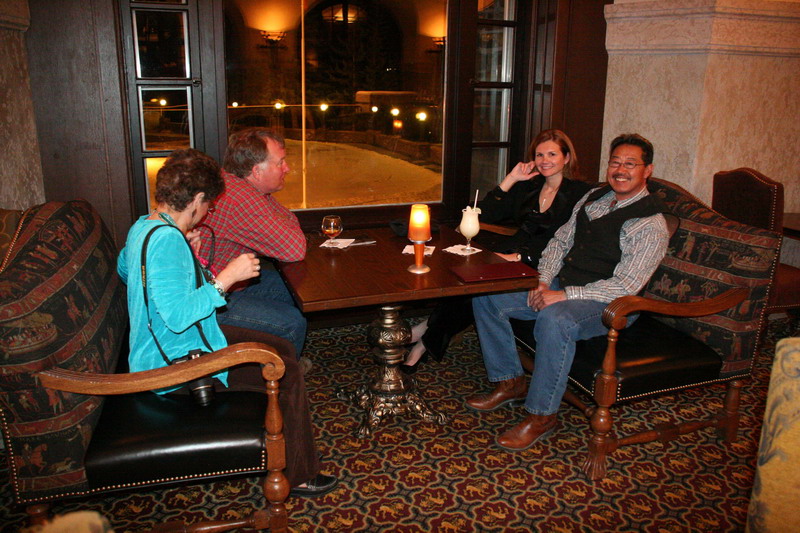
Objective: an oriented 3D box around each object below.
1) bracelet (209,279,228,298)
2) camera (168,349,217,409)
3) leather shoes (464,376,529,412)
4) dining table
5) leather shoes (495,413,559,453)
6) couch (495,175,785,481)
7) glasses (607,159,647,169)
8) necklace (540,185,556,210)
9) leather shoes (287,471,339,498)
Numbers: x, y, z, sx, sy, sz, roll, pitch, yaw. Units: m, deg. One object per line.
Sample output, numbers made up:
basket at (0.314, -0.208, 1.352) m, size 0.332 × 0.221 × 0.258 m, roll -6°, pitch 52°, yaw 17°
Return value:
bracelet at (-0.829, 0.107, 2.578) m, size 0.023 × 0.065 × 0.090 m, roll -45°, pitch 29°, yaw 6°
camera at (-0.895, 0.491, 2.574) m, size 0.224 × 0.238 × 0.089 m, roll -21°, pitch 5°, yaw 22°
leather shoes at (0.623, 0.798, 3.622) m, size 0.455 × 0.215 × 0.163 m, roll -10°, pitch 25°, yaw -9°
dining table at (-0.047, 0.416, 3.166) m, size 1.096 × 0.794 × 1.265 m, roll -6°, pitch 18°, yaw -19°
leather shoes at (0.712, 0.930, 3.258) m, size 0.409 × 0.158 × 0.150 m, roll -21°, pitch 38°, yaw -13°
couch at (1.261, 0.305, 3.766) m, size 1.402 × 1.704 × 2.328 m, roll -2°, pitch 15°, yaw -8°
glasses at (1.290, -0.583, 3.213) m, size 0.188 × 0.043 × 0.070 m, roll 5°, pitch 19°, yaw 24°
necklace at (0.989, -0.463, 3.792) m, size 0.038 × 0.156 × 0.090 m, roll 12°, pitch 0°, yaw -39°
leather shoes at (-0.449, 1.123, 2.949) m, size 0.254 × 0.096 × 0.106 m, roll -9°, pitch 26°, yaw -16°
